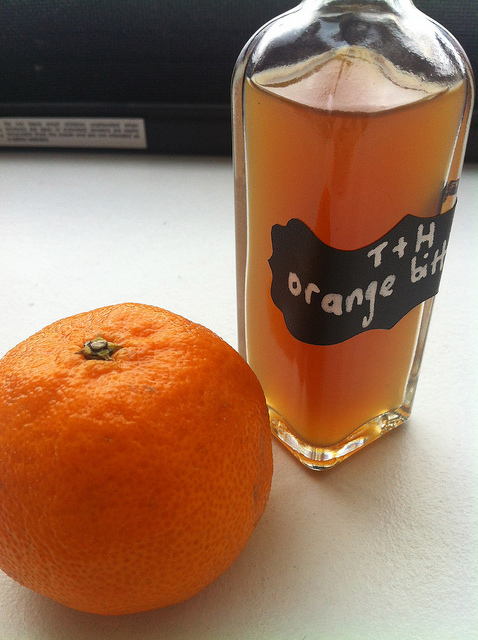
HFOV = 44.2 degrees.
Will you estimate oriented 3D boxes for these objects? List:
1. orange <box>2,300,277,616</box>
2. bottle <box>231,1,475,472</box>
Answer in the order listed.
[{"bbox_3d":[-0.081,0.089,0.363,0.156,0.115,0.157,24,50,16],"label":"orange"},{"bbox_3d":[0.078,-0.051,0.422,0.150,0.306,0.133,-9,34,-8],"label":"bottle"}]
